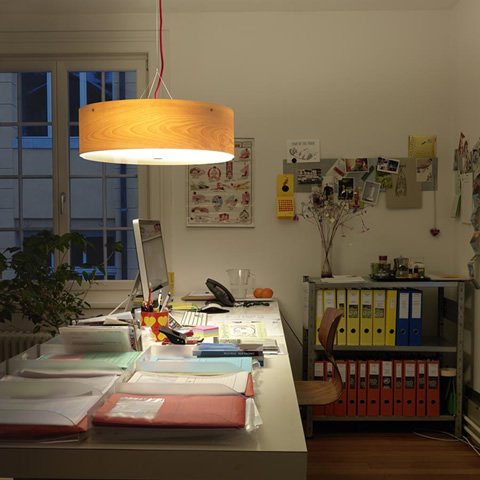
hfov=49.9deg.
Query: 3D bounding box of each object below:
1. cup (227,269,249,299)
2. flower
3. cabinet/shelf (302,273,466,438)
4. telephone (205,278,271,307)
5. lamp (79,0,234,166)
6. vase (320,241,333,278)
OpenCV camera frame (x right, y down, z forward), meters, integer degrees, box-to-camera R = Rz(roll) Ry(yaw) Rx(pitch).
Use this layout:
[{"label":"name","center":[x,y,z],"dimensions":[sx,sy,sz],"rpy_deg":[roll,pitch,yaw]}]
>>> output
[{"label":"cup","center":[-0.009,0.279,3.296],"dimensions":[0.168,0.194,0.121],"rpy_deg":[1,-4,0]},{"label":"flower","center":[0.598,-0.007,3.623],"dimensions":[0.531,0.769,0.498],"rpy_deg":[2,-3,-22]},{"label":"cabinet/shelf","center":[0.845,0.706,3.053],"dimensions":[0.824,0.917,0.296],"rpy_deg":[0,5,3]},{"label":"telephone","center":[-0.039,0.328,3.037],"dimensions":[0.264,0.128,0.192],"rpy_deg":[-2,-7,-4]},{"label":"lamp","center":[-0.288,-0.459,2.093],"dimensions":[0.624,0.808,0.673],"rpy_deg":[1,1,0]},{"label":"vase","center":[0.560,0.134,3.324],"dimensions":[0.078,0.217,0.292],"rpy_deg":[0,3,10]}]
